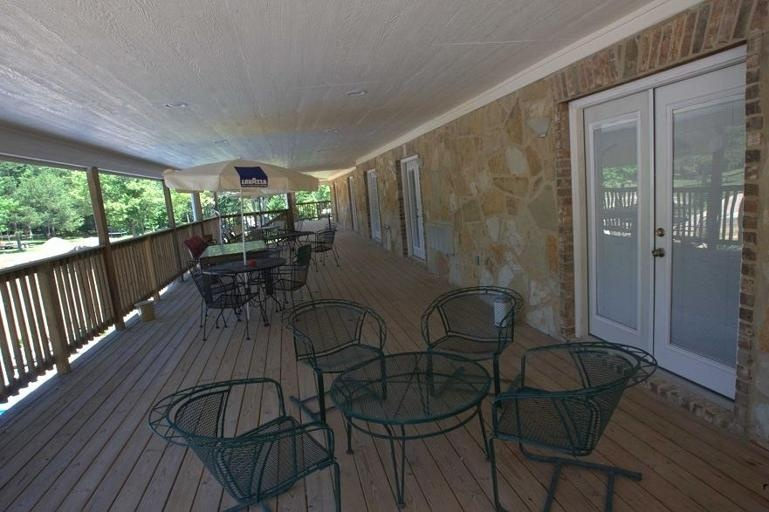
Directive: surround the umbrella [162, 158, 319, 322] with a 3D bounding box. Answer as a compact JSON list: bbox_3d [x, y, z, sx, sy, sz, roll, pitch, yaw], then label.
[{"bbox_3d":[-2.115,-0.597,6.755,1.865,1.645,1.862,-6,12,-35],"label":"umbrella"}]
